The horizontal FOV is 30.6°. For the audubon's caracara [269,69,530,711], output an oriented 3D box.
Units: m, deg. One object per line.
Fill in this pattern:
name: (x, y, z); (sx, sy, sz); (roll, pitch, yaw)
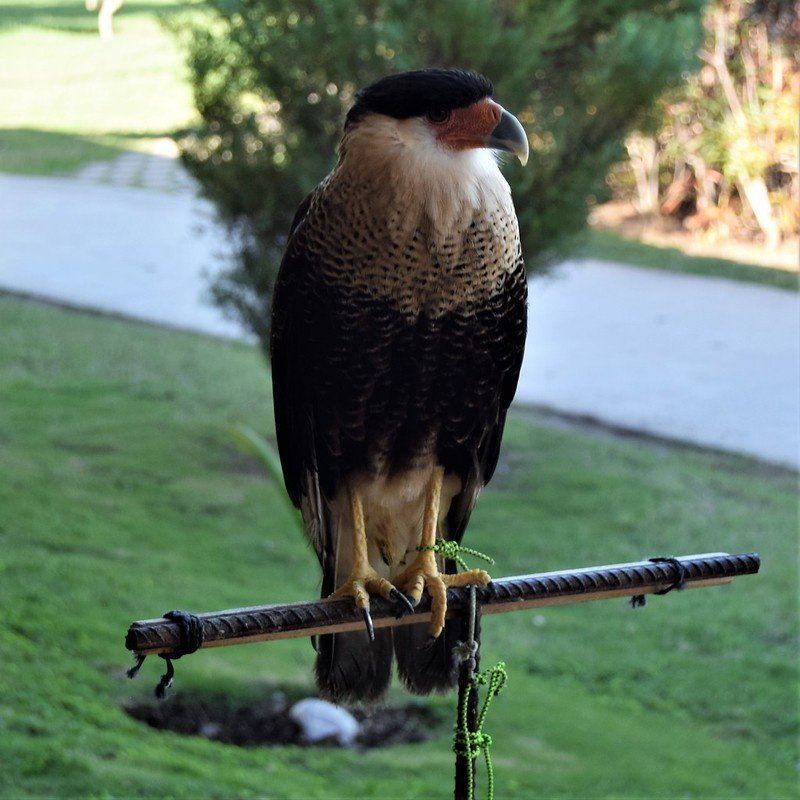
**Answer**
audubon's caracara: (0.012, -0.121, 3.029); (0.392, 1.115, 0.430); (19, 17, 40)
